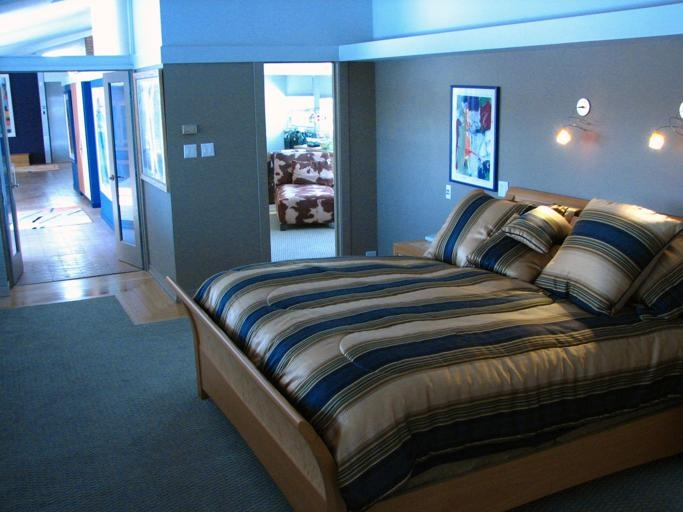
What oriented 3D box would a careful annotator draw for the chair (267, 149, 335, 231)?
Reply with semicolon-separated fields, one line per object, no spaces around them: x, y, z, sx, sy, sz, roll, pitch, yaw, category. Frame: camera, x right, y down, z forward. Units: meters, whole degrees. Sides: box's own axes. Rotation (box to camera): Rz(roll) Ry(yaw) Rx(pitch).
-0.635;-1.187;8.958;1.002;0.964;1.572;-3;19;-9;chair
